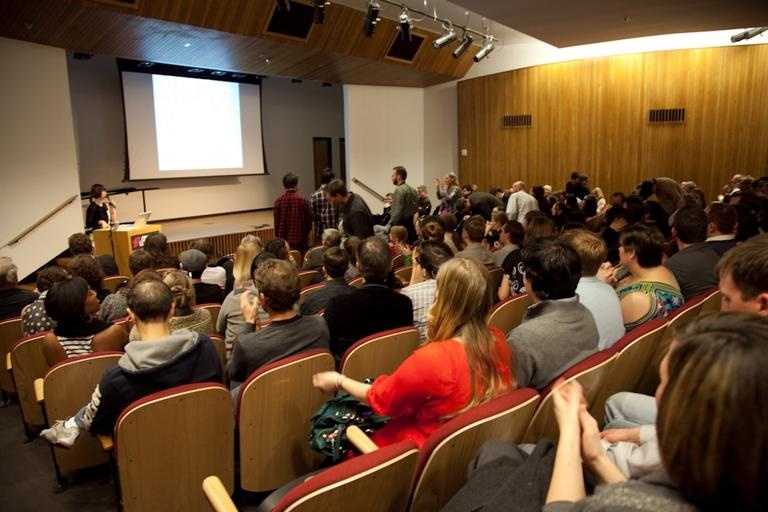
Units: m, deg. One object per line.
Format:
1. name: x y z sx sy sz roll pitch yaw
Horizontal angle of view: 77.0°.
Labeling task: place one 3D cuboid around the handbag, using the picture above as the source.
1. handbag: -0.180 0.861 2.355 0.377 0.164 0.366 -39 37 -26
